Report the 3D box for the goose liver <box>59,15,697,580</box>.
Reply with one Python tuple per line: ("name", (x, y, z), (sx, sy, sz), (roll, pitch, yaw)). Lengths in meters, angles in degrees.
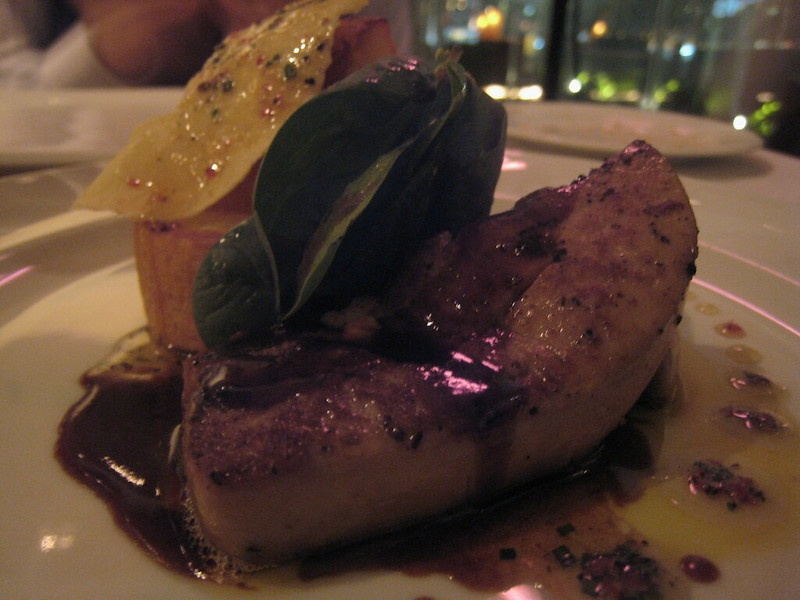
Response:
("goose liver", (-0.002, -0.059, 1.226), (0.710, 0.563, 0.545), (-12, 33, -19))
